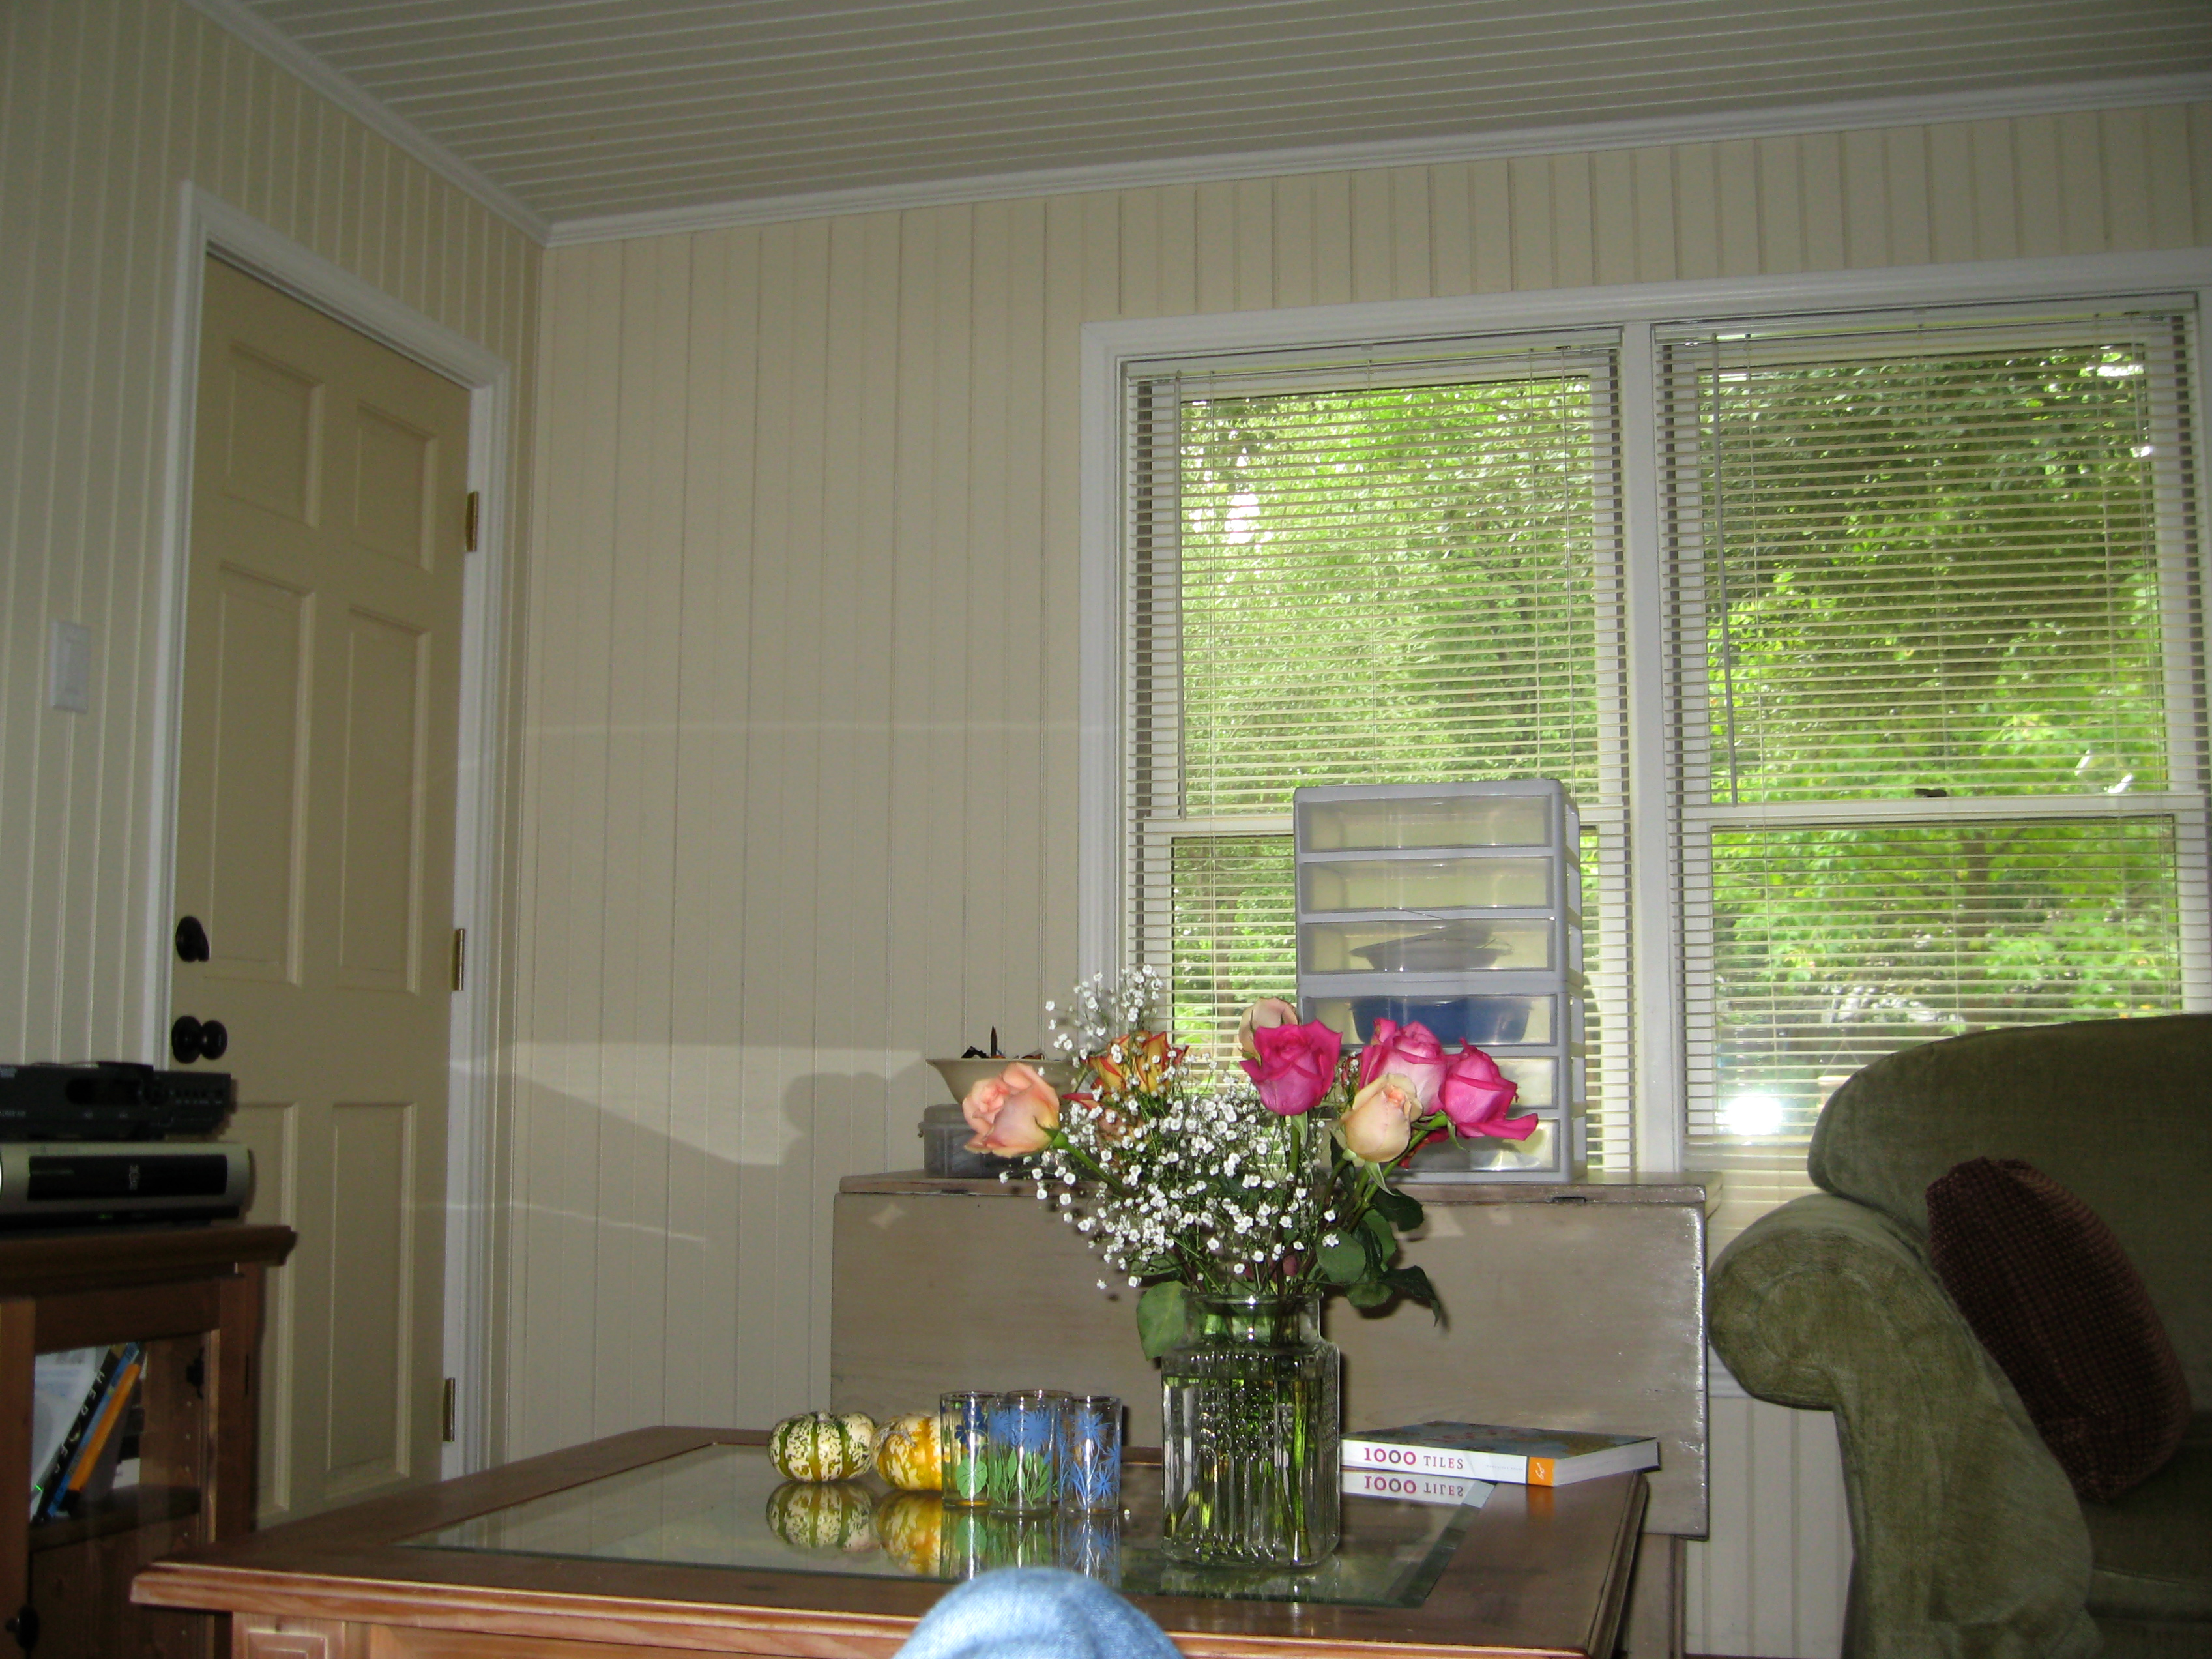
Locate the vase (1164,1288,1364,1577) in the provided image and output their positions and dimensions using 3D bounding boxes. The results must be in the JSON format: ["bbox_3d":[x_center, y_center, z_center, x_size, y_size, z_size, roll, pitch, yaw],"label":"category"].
[{"bbox_3d":[0.174,0.655,2.165,0.167,0.289,0.186,-1,-6,10],"label":"vase"}]

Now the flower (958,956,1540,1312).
[{"bbox_3d":[0.244,0.373,2.179,0.374,0.278,0.406,-21,1,-39],"label":"flower"}]

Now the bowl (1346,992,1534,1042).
[{"bbox_3d":[0.584,0.311,3.248,0.161,0.069,0.164,1,-5,0],"label":"bowl"}]
